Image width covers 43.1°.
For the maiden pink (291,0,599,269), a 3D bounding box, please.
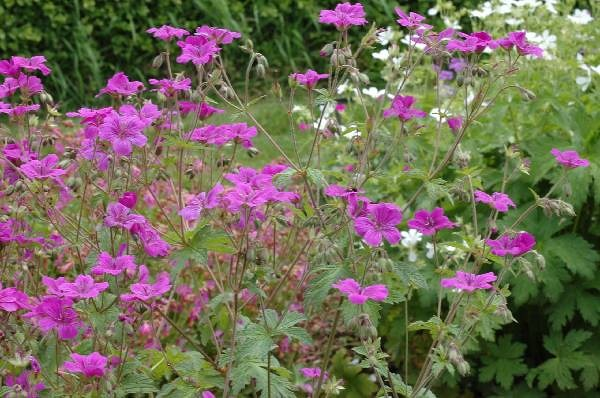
[{"bbox_3d":[0.808,-0.256,4.651,1.694,2.070,2.037,2,-3,11],"label":"maiden pink"}]
